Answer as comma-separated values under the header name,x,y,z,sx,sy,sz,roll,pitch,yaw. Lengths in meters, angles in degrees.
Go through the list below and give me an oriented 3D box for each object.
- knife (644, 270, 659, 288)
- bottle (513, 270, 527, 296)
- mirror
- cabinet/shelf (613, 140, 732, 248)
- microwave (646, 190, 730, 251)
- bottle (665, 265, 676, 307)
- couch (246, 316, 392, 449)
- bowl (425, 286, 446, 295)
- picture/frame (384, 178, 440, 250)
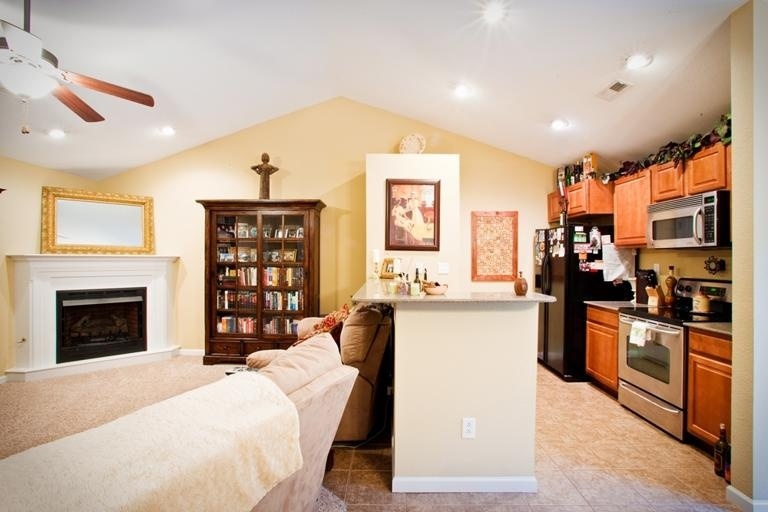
name,x,y,z,sx,sy,sz,roll,pitch,yaw
knife,3.214,0.255,6.083,0.157,0.181,0.084,-2,-2,10
bottle,1.289,0.260,4.793,0.109,0.230,0.263,-2,-2,14
mirror,-3.855,-0.460,6.748,0.996,0.713,0.078,2,-5,-35
cabinet/shelf,3.156,-0.666,5.474,0.437,0.795,1.245,4,-6,-4
microwave,3.137,-0.369,5.536,0.705,0.466,0.433,-5,9,7
bottle,3.323,0.343,5.872,0.120,0.456,0.252,-2,-2,29
couch,-0.550,1.138,5.337,1.150,1.014,1.877,0,-4,2
bowl,0.479,0.323,4.813,0.211,0.085,0.122,-2,-2,14
picture/frame,0.349,-0.583,6.682,0.966,1.241,0.095,0,0,-3
